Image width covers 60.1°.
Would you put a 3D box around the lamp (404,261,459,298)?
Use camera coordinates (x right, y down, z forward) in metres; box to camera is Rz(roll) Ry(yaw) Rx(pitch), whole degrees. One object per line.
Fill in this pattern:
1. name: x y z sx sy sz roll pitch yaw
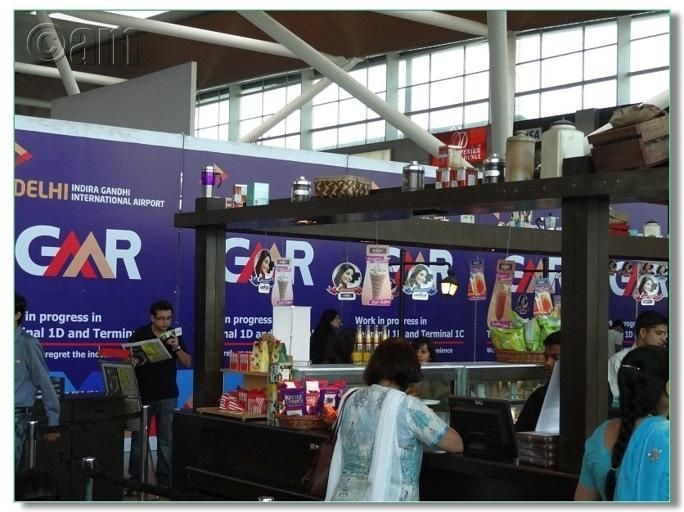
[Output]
1. lamp: 1.131 0.306 7.347 0.668 0.479 0.335 2 6 -9

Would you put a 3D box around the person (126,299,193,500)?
1. person: -2.026 1.529 6.640 0.635 2.056 0.680 2 -4 -17

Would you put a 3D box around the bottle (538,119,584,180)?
1. bottle: 1.278 -0.623 3.426 0.245 0.388 0.257 1 -4 0

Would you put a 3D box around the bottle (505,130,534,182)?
1. bottle: 1.082 -0.599 3.589 0.176 0.308 0.175 1 1 0

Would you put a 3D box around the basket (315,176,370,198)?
1. basket: 0.009 -0.517 4.404 0.437 0.199 0.369 1 -4 2

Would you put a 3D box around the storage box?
1. storage box: 1.581 -0.613 3.210 0.385 0.230 0.282 -22 11 -33

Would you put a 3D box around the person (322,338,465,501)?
1. person: 0.283 0.931 3.342 0.734 0.905 0.380 1 -4 2

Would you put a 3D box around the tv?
1. tv: 0.853 1.070 3.604 0.366 0.324 0.180 1 -2 42

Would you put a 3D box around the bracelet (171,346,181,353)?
1. bracelet: -1.880 1.072 6.803 0.092 0.043 0.115 -2 -4 18

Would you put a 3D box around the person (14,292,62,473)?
1. person: -2.784 1.172 5.422 0.413 1.636 1.037 2 -4 -25
